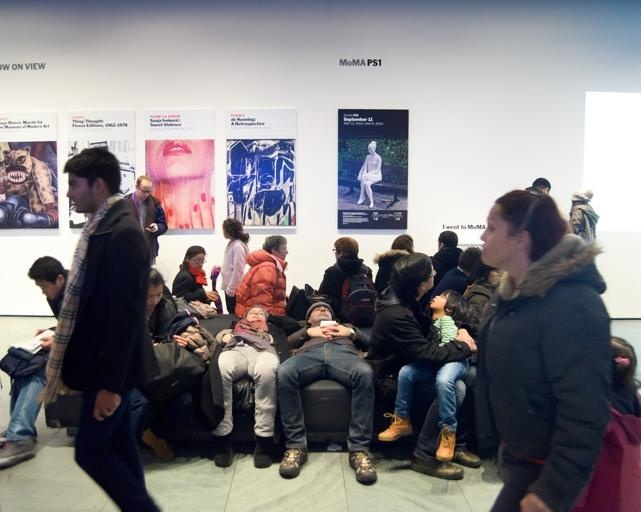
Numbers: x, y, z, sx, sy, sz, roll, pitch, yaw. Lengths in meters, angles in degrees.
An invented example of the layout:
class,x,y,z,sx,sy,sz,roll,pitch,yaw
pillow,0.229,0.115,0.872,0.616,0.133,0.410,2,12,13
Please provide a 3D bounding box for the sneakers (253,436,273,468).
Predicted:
class,x,y,z,sx,sy,sz,roll,pitch,yaw
sneakers,-0.424,1.417,4.027,0.147,0.200,0.255,0,6,-6

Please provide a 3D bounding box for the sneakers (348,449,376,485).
class,x,y,z,sx,sy,sz,roll,pitch,yaw
sneakers,0.301,1.481,3.835,0.162,0.158,0.244,0,6,-9

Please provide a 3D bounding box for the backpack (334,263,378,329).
class,x,y,z,sx,sy,sz,roll,pitch,yaw
backpack,0.359,0.407,5.281,0.490,0.782,0.426,2,-22,-1

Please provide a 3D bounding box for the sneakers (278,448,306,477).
class,x,y,z,sx,sy,sz,roll,pitch,yaw
sneakers,-0.202,1.469,3.890,0.122,0.149,0.228,2,6,21

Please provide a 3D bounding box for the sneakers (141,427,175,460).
class,x,y,z,sx,sy,sz,roll,pitch,yaw
sneakers,-1.236,1.410,4.071,0.071,0.207,0.201,-48,-6,-35

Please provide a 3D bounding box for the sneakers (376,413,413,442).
class,x,y,z,sx,sy,sz,roll,pitch,yaw
sneakers,0.557,1.260,4.011,0.321,0.239,0.148,0,-4,-7

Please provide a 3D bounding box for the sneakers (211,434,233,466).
class,x,y,z,sx,sy,sz,roll,pitch,yaw
sneakers,-0.717,1.421,4.016,0.133,0.195,0.198,-1,6,-11

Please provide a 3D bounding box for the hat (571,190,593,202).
class,x,y,z,sx,sy,sz,roll,pitch,yaw
hat,3.369,-0.771,7.047,0.163,0.119,0.236,1,1,7

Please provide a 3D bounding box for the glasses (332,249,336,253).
class,x,y,z,sx,sy,sz,roll,pitch,yaw
glasses,0.169,-0.070,7.030,0.051,0.054,0.016,-4,11,1

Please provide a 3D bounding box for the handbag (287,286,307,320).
class,x,y,z,sx,sy,sz,roll,pitch,yaw
handbag,-0.233,0.495,5.679,0.234,0.473,0.381,2,-13,-3
